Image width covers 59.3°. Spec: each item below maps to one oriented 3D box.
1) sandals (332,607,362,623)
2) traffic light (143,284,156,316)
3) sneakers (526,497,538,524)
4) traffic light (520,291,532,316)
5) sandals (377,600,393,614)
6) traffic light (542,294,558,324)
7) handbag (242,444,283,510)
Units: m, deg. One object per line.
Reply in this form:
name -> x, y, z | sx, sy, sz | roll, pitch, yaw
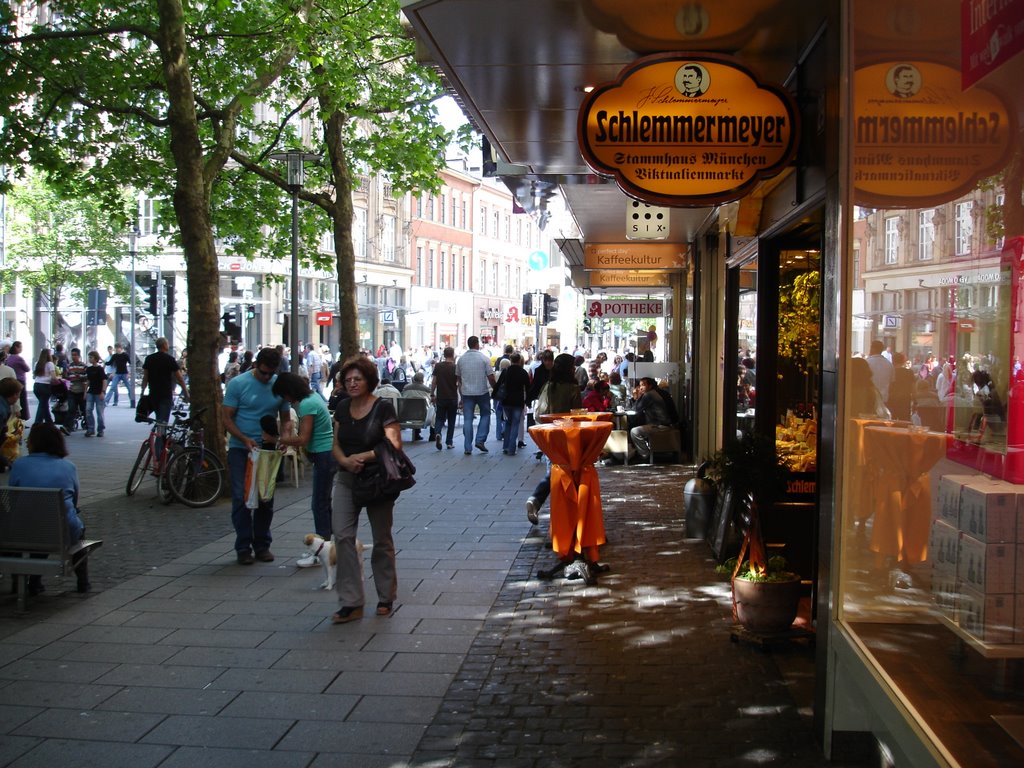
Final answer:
sandals -> -1.320, 1.826, 7.130 | 0.084, 0.116, 0.261 | -4, -11, 22
traffic light -> -10.408, -2.517, 25.781 | 0.290, 0.910, 0.997 | -1, 2, -23
sneakers -> 0.234, 1.457, 10.198 | 0.106, 0.340, 0.141 | -4, 12, 6
traffic light -> 0.414, -2.377, 26.216 | 0.471, 0.693, 0.488 | -1, 4, -13
sandals -> -1.041, 1.805, 7.334 | 0.141, 0.098, 0.194 | -1, 2, -10
traffic light -> 1.017, -2.280, 26.691 | 0.200, 0.831, 0.607 | 5, 1, 28
handbag -> -2.506, 0.944, 8.967 | 0.347, 0.632, 0.339 | -1, 2, -17
